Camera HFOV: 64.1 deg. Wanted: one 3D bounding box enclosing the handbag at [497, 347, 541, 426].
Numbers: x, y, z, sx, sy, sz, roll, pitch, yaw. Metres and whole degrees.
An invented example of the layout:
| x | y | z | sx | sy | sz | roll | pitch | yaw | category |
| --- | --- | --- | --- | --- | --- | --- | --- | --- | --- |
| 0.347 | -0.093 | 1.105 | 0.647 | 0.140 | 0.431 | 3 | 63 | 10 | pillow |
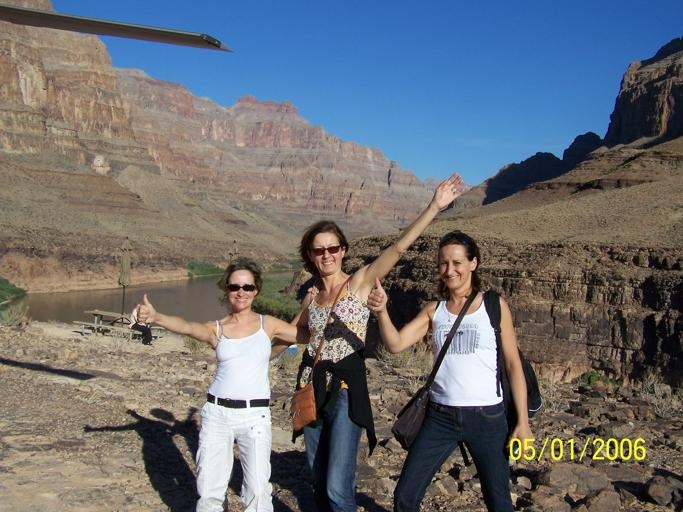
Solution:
| x | y | z | sx | sy | sz | roll | pitch | yaw | category |
| --- | --- | --- | --- | --- | --- | --- | --- | --- | --- |
| 1.414 | 1.035 | 4.295 | 0.189 | 0.521 | 0.446 | -11 | -6 | 34 | handbag |

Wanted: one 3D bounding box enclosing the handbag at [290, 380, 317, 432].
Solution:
| x | y | z | sx | sy | sz | roll | pitch | yaw | category |
| --- | --- | --- | --- | --- | --- | --- | --- | --- | --- |
| -0.306 | 1.233 | 4.442 | 0.124 | 0.388 | 0.275 | 3 | 0 | -39 | handbag |

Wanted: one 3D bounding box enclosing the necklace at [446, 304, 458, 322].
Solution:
| x | y | z | sx | sy | sz | roll | pitch | yaw | category |
| --- | --- | --- | --- | --- | --- | --- | --- | --- | --- |
| 0.880 | 0.461 | 4.338 | 0.097 | 0.043 | 0.126 | 18 | -18 | 15 | necklace |
